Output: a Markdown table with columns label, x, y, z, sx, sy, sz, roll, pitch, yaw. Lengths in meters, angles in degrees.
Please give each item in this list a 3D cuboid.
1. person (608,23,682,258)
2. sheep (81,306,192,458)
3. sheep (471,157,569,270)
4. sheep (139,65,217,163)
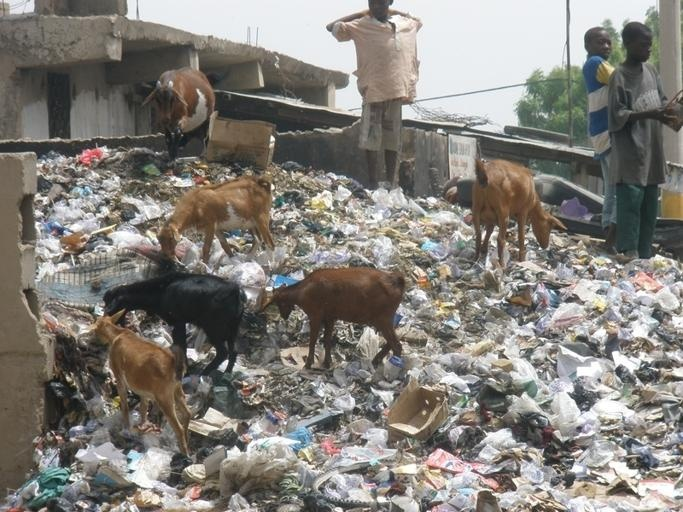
| label | x | y | z | sx | sy | sz | roll | pitch | yaw |
| --- | --- | --- | --- | --- | --- | --- | --- | --- | --- |
| person | 3.440 | -1.298 | 12.742 | 0.794 | 2.611 | 0.773 | 1 | -2 | -43 |
| sheep | -1.811 | 1.175 | 10.405 | 0.812 | 1.317 | 0.372 | -1 | -2 | 23 |
| sheep | 1.869 | -0.500 | 12.830 | 1.250 | 1.207 | 0.610 | 1 | -2 | -34 |
| sheep | -2.090 | -1.898 | 14.949 | 0.546 | 1.392 | 1.229 | -1 | -2 | 11 |
